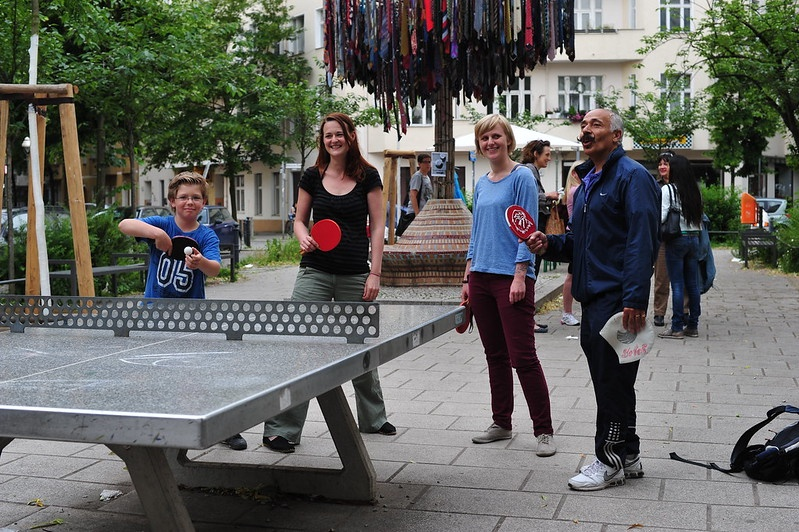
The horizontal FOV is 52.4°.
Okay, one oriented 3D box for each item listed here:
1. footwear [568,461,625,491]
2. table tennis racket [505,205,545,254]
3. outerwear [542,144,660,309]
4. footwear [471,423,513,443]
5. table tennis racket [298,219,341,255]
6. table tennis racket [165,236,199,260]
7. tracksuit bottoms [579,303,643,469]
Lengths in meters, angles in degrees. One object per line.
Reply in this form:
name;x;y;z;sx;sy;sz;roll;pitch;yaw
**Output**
footwear;1.344;1.448;5.629;0.415;0.194;0.162;0;-2;-9
table tennis racket;0.880;-0.249;5.785;0.063;0.287;0.239;-9;36;54
outerwear;1.445;-0.273;5.538;0.594;1.064;0.454;3;9;25
footwear;0.735;1.316;6.412;0.344;0.139;0.122;0;-1;-14
table tennis racket;-0.557;-0.227;5.865;0.135;0.220;0.326;-6;10;-33
table tennis racket;-1.443;-0.115;5.452;0.179;0.162;0.274;-3;8;-16
tracksuit bottoms;1.452;0.792;5.594;0.397;1.198;0.333;1;8;13
